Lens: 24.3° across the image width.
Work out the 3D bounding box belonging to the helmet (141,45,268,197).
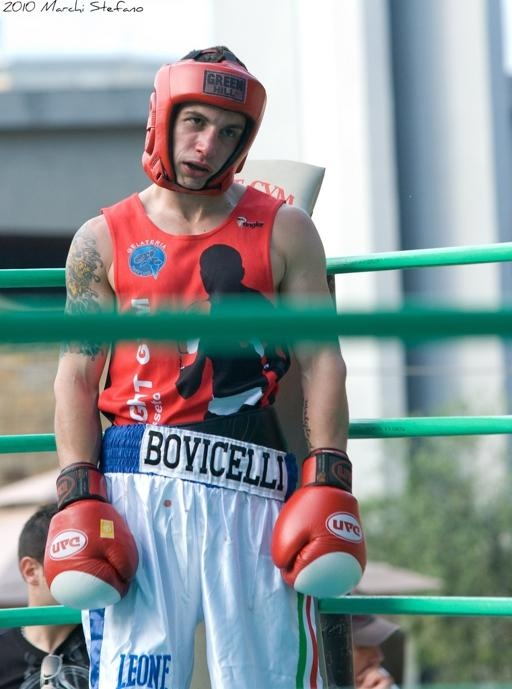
[{"bbox_3d":[-0.075,-0.499,2.749,0.240,0.220,0.186,20,23,12],"label":"helmet"}]

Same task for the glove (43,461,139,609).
[{"bbox_3d":[-0.377,0.426,2.593,0.221,0.307,0.186,-21,-25,29],"label":"glove"}]

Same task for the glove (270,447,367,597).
[{"bbox_3d":[0.132,0.395,2.579,0.195,0.309,0.143,-3,-1,1],"label":"glove"}]
